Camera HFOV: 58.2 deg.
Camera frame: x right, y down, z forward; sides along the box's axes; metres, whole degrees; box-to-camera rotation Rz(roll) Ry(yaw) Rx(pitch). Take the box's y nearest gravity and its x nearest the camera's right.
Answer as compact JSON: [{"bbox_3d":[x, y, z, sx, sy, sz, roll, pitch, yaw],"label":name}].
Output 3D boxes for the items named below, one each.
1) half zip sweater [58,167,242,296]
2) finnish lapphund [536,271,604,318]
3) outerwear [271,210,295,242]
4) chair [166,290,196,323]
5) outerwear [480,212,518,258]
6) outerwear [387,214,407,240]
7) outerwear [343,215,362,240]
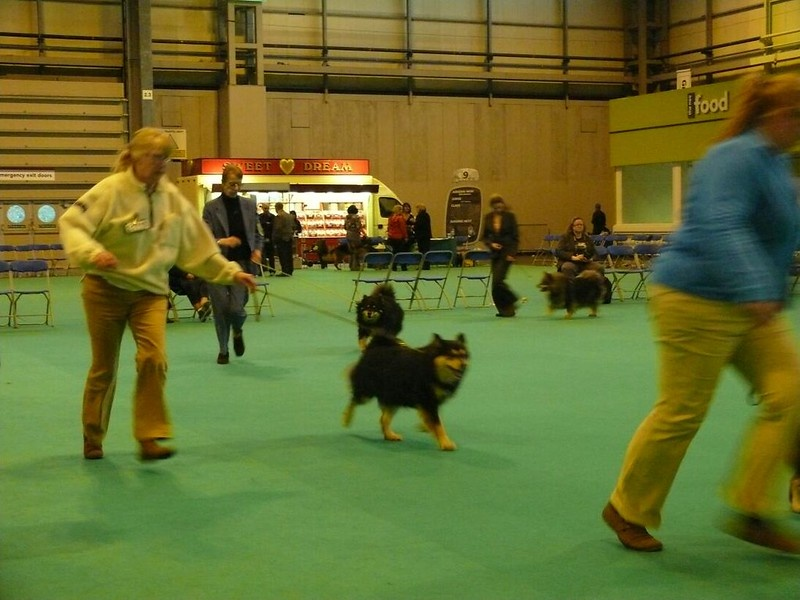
[{"bbox_3d":[-1.617,-0.407,4.545,0.769,0.834,1.219,14,3,43],"label":"half zip sweater"},{"bbox_3d":[3.112,-0.137,12.836,1.211,0.772,0.642,1,1,-2],"label":"finnish lapphund"},{"bbox_3d":[-3.461,-2.143,21.304,0.604,0.801,0.466,0,8,-8],"label":"outerwear"},{"bbox_3d":[-3.894,0.120,12.763,0.401,0.466,0.513,-5,9,-34],"label":"chair"},{"bbox_3d":[1.764,-1.179,12.550,0.629,0.777,0.483,3,8,16],"label":"outerwear"},{"bbox_3d":[-0.062,-2.186,21.545,0.894,0.893,0.537,0,2,-8],"label":"outerwear"},{"bbox_3d":[-1.464,-2.295,22.592,0.480,0.715,0.398,-1,8,-13],"label":"outerwear"}]
